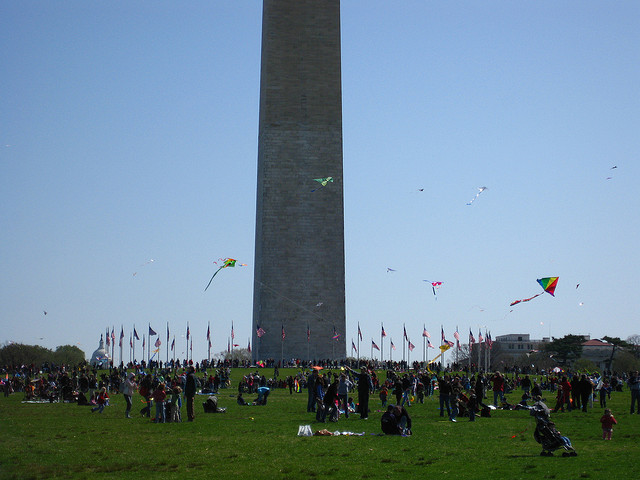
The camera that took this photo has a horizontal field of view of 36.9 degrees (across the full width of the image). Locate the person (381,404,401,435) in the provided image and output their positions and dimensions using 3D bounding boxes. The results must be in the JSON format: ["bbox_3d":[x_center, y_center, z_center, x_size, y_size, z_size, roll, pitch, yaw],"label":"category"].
[{"bbox_3d":[2.347,5.598,30.004,0.795,0.909,0.717,-2,0,34],"label":"person"}]

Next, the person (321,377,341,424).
[{"bbox_3d":[0.436,5.600,33.195,0.596,1.643,0.593,9,-4,26],"label":"person"}]

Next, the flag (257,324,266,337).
[{"bbox_3d":[-5.285,8.112,85.107,0.807,0.809,0.228,-40,-2,-40],"label":"flag"}]

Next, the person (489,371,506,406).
[{"bbox_3d":[7.079,5.775,37.758,0.528,1.514,0.409,-1,20,14],"label":"person"}]

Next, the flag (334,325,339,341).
[{"bbox_3d":[1.563,8.569,89.318,0.236,1.465,0.128,-13,-9,4],"label":"flag"}]
